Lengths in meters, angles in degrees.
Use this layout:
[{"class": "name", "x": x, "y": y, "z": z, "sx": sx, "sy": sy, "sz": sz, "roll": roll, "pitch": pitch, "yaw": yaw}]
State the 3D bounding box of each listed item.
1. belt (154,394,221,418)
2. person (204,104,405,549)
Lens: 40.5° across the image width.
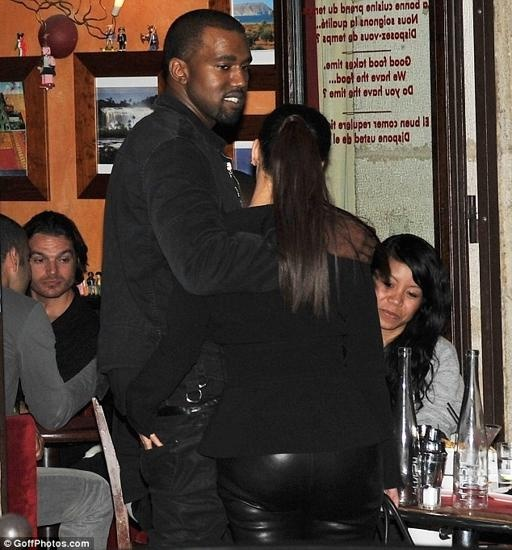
[{"class": "belt", "x": -0.145, "y": 0.284, "z": 1.492, "sx": 0.106, "sy": 0.023, "sz": 0.056, "roll": -8, "pitch": -5, "yaw": 5}, {"class": "person", "x": 0.075, "y": 0.109, "z": 1.356, "sx": 0.369, "sy": 0.844, "sz": 0.158, "roll": -2, "pitch": 2, "yaw": 3}]
